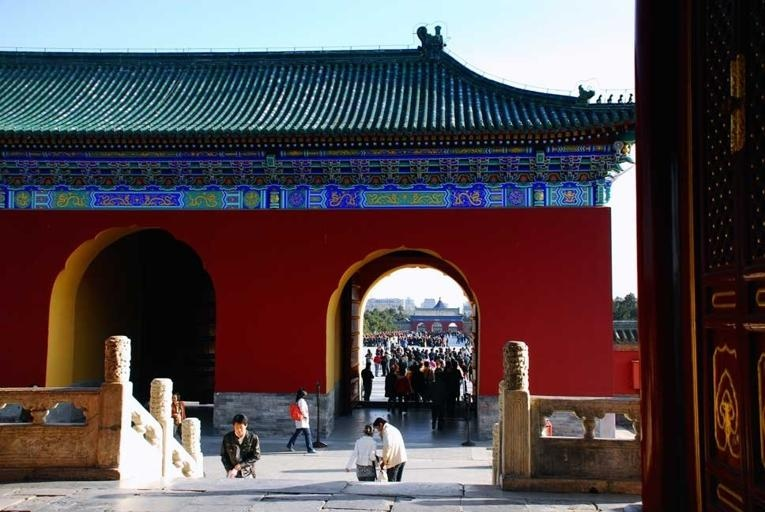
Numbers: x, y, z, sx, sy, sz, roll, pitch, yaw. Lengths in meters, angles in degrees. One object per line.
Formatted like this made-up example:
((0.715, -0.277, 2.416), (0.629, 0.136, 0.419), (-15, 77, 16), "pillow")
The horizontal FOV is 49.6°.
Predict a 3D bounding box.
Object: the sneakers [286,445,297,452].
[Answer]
((-1.552, 3.236, 13.980), (0.182, 0.082, 0.064), (0, -4, -6), "sneakers")

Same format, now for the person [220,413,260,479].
((-1.945, 2.811, 11.195), (0.498, 1.299, 0.436), (1, 6, -11), "person")

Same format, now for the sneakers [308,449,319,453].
((-1.208, 3.256, 13.972), (0.127, 0.060, 0.074), (-6, -8, 34), "sneakers")

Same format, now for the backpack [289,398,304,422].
((-1.473, 2.579, 13.962), (0.159, 0.318, 0.381), (-3, 8, -26), "backpack")
